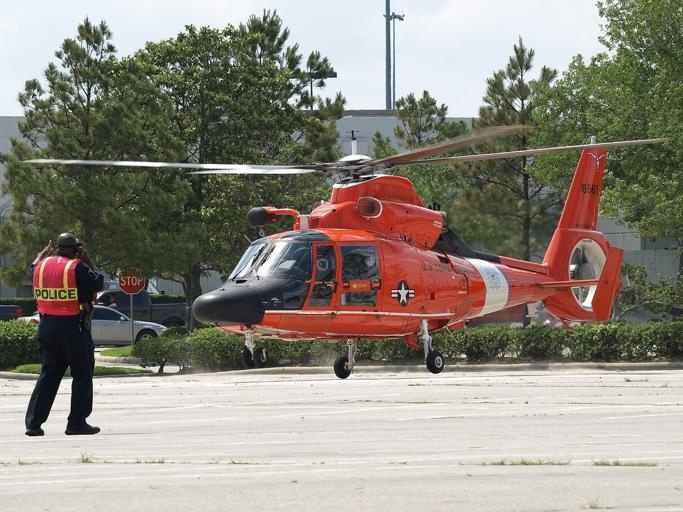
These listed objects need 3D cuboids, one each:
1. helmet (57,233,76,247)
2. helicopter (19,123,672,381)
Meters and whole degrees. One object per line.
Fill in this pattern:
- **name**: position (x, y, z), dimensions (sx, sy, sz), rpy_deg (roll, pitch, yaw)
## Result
- **helmet**: position (-5.757, -0.350, 30.180), dimensions (0.324, 0.238, 0.319), rpy_deg (0, 13, -11)
- **helicopter**: position (1.040, -0.039, 37.146), dimensions (17.215, 5.636, 15.319), rpy_deg (2, 0, -40)
